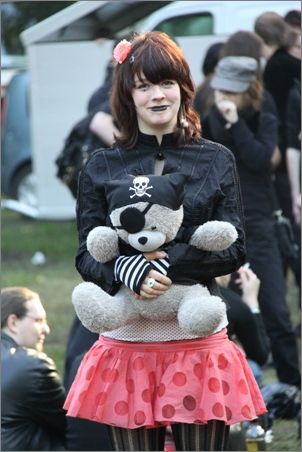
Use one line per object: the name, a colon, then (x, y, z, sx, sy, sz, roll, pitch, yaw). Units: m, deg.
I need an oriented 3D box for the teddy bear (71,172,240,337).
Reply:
teddy bear: (0.018, 0.074, 1.763, 0.596, 0.463, 0.332, -1, 8, 3)

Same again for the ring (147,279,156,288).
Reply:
ring: (-0.001, 0.154, 1.691, 0.018, 0.023, 0.024, 19, -8, 1)
